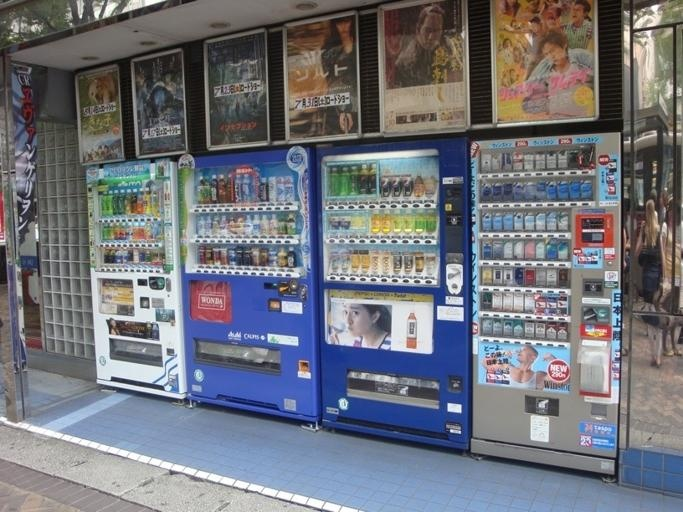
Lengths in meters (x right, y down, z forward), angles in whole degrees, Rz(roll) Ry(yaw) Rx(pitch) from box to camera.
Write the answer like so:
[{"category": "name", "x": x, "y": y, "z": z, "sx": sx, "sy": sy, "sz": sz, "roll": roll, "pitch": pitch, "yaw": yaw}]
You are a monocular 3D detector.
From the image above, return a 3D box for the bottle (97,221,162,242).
[{"category": "bottle", "x": -2.322, "y": -0.278, "z": 6.487, "sx": 0.898, "sy": 0.244, "sz": 0.092, "roll": 6, "pitch": 13, "yaw": 28}]

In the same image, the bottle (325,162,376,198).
[{"category": "bottle", "x": 0.105, "y": -0.738, "z": 5.610, "sx": 0.476, "sy": 0.311, "sz": 0.125, "roll": 0, "pitch": 12, "yaw": 5}]

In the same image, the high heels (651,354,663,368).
[{"category": "high heels", "x": 2.507, "y": 0.844, "z": 4.653, "sx": 0.095, "sy": 0.099, "sz": 0.070, "roll": 2, "pitch": 3, "yaw": 43}]

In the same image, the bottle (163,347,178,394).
[{"category": "bottle", "x": -1.807, "y": 1.227, "z": 6.258, "sx": 0.196, "sy": 0.469, "sz": 0.051, "roll": 4, "pitch": 13, "yaw": 25}]
